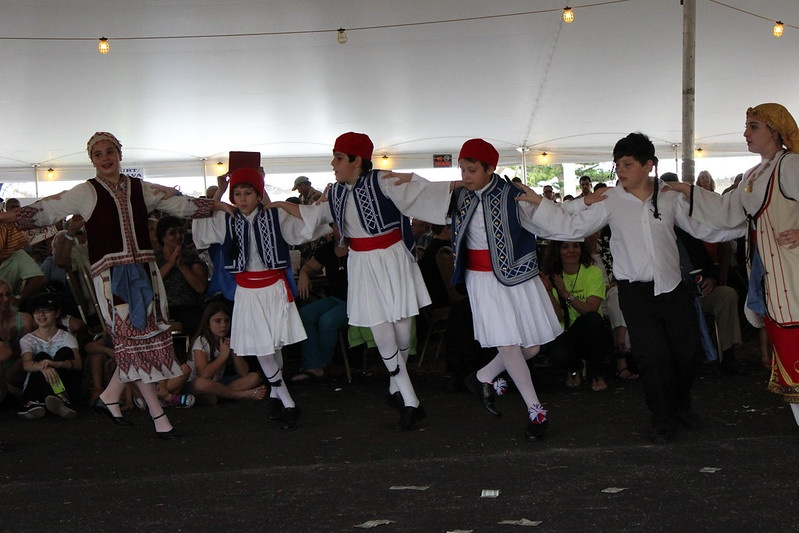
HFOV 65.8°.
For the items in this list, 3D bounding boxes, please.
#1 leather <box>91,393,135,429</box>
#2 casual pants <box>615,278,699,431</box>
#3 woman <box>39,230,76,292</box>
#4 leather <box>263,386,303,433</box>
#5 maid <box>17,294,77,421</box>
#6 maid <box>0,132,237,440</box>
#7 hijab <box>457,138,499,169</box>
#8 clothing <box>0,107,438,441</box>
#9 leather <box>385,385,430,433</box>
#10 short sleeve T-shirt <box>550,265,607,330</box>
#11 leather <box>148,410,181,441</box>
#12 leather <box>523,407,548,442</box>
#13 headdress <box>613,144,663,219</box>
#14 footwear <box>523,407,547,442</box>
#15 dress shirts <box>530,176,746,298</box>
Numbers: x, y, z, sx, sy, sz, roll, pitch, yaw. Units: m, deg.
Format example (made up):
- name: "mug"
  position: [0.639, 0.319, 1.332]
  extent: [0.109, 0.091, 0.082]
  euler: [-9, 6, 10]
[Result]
- name: "leather"
  position: [-2.299, 1.160, 4.944]
  extent: [0.347, 0.152, 0.115]
  euler: [33, -11, -5]
- name: "casual pants"
  position: [1.804, 0.513, 4.249]
  extent: [0.481, 0.966, 0.357]
  euler: [-11, 10, -3]
- name: "woman"
  position: [-3.623, -0.020, 6.505]
  extent: [0.369, 0.762, 0.249]
  euler: [12, 23, 36]
- name: "leather"
  position: [-0.899, 1.128, 4.897]
  extent: [0.431, 0.285, 0.169]
  euler: [11, 20, 42]
- name: "maid"
  position: [-2.973, 0.745, 5.241]
  extent: [0.483, 0.890, 0.957]
  euler: [-6, 9, -23]
- name: "maid"
  position: [-1.988, 0.139, 4.501]
  extent: [1.200, 2.199, 0.320]
  euler: [-3, 3, -8]
- name: "hijab"
  position: [0.563, -0.781, 4.260]
  extent: [0.285, 0.202, 0.156]
  euler: [-6, 4, -42]
- name: "clothing"
  position: [-1.751, -0.008, 5.928]
  extent: [4.417, 3.140, 1.538]
  euler: [-3, -3, -19]
- name: "leather"
  position: [0.065, 1.087, 4.543]
  extent: [0.149, 0.141, 0.349]
  euler: [12, 28, 24]
- name: "short sleeve T-shirt"
  position: [1.588, 0.268, 5.518]
  extent: [0.569, 0.570, 0.333]
  euler: [-9, -2, 19]
- name: "leather"
  position: [-1.718, 1.171, 4.502]
  extent: [0.109, 0.125, 0.311]
  euler: [-2, -1, -35]
- name: "leather"
  position: [0.926, 1.053, 4.142]
  extent: [0.125, 0.149, 0.235]
  euler: [-6, 6, 21]
- name: "headdress"
  position: [1.593, -0.597, 4.137]
  extent: [0.272, 0.552, 0.157]
  euler: [-2, 3, 12]
- name: "footwear"
  position: [0.925, 1.053, 4.143]
  extent: [0.125, 0.149, 0.234]
  euler: [-5, 7, 21]
- name: "dress shirts"
  position: [1.664, -0.191, 4.191]
  extent: [1.562, 0.716, 0.414]
  euler: [0, -2, 1]
